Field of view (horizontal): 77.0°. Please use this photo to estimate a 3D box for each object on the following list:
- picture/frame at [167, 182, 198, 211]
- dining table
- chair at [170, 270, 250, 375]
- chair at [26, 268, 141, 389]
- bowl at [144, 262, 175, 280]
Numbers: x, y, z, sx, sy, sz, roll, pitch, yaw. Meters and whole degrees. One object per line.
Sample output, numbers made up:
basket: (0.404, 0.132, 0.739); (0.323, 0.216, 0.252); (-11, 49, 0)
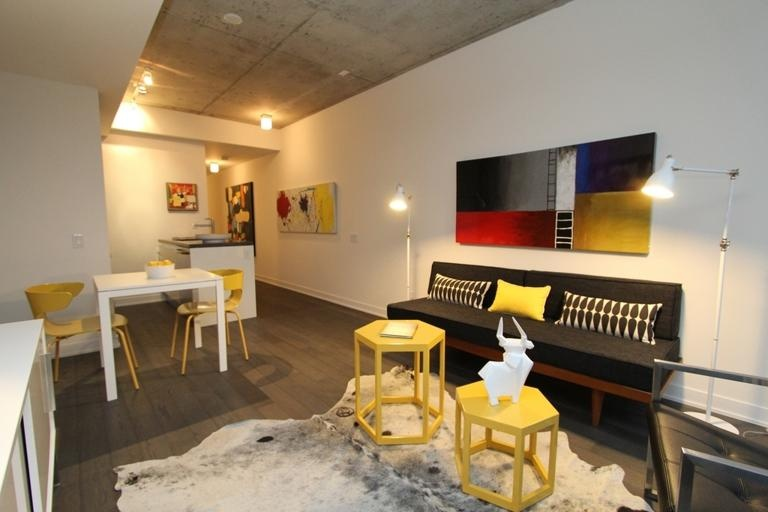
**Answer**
picture/frame: (-3.284, -0.972, 7.806); (0.451, 0.467, 0.044); (-7, 11, -42)
dining table: (-2.250, 0.736, 4.960); (1.121, 1.030, 0.848); (-5, 4, -28)
chair: (-1.893, 0.636, 5.230); (0.771, 0.990, 0.615); (0, 7, -31)
chair: (-2.901, 0.613, 5.012); (1.145, 1.326, 1.012); (-3, 8, -24)
bowl: (-2.218, 0.142, 4.849); (0.192, 0.123, 0.206); (0, -1, 0)
